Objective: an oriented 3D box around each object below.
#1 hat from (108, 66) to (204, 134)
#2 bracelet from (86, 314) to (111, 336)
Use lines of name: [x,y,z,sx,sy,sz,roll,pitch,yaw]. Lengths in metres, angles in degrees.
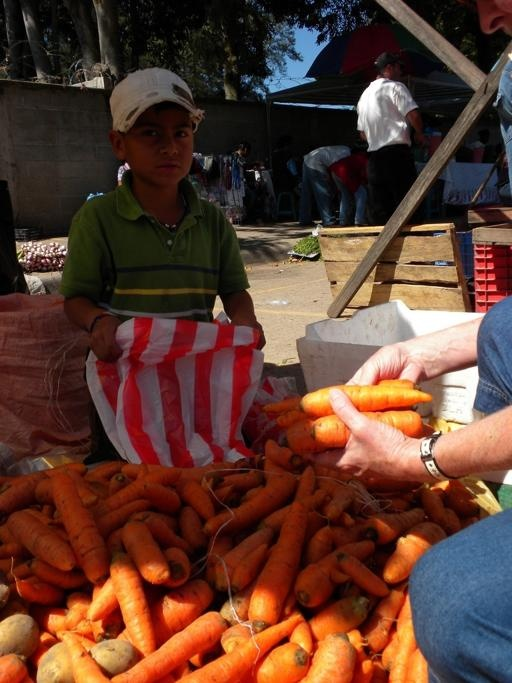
hat: [-0.450,-0.990,2.224,0.293,0.168,0.368,-8,15,-22]
bracelet: [-0.634,-0.072,2.129,0.066,0.079,0.086,34,45,26]
